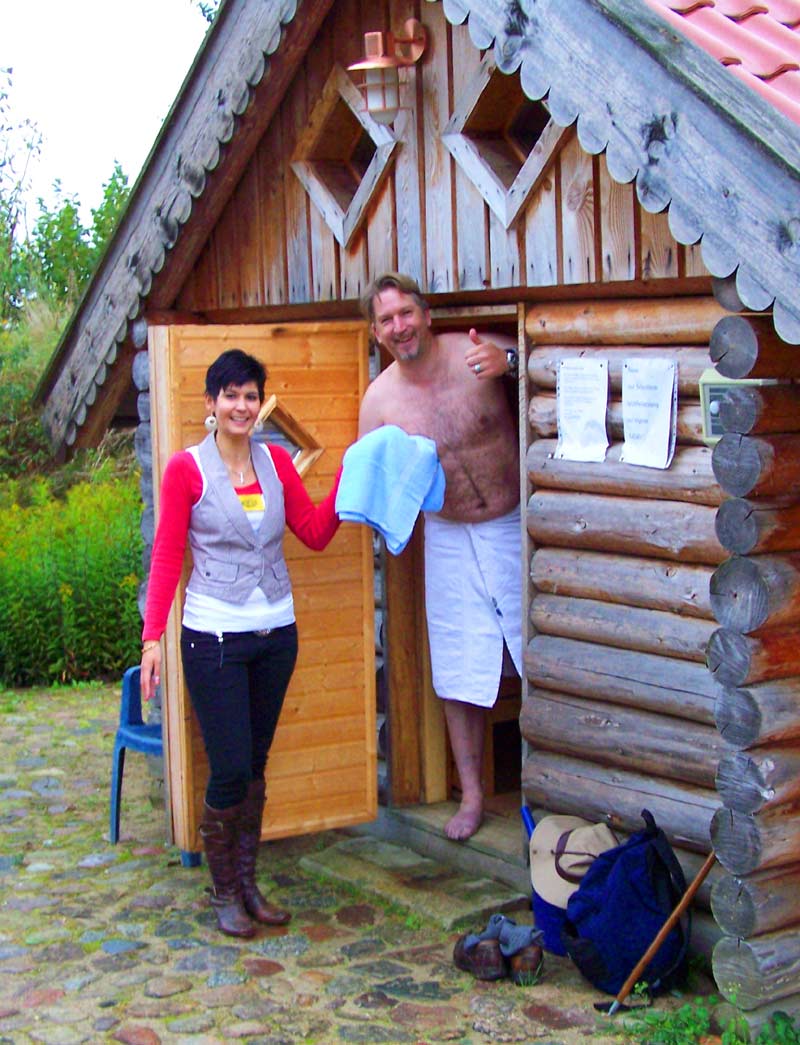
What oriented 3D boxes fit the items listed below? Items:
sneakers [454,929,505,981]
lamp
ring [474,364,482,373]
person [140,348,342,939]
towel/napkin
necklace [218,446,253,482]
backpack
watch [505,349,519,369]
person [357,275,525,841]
[{"bbox_3d":[0.275,1.480,3.320,0.161,0.124,0.071,-7,8,40],"label":"sneakers"},{"bbox_3d":[-0.039,-1.850,3.959,0.305,0.417,0.466,-2,0,2],"label":"lamp"},{"bbox_3d":[0.298,-0.601,3.813,0.032,0.027,0.049,-2,-13,1],"label":"ring"},{"bbox_3d":[-0.617,0.469,3.720,0.756,2.233,0.349,-3,0,-39],"label":"person"},{"bbox_3d":[-0.049,-0.130,3.817,0.426,0.500,0.091,-3,0,-19],"label":"towel/napkin"},{"bbox_3d":[-0.621,-0.217,3.682,0.117,0.115,0.040,-14,-2,-36],"label":"necklace"},{"bbox_3d":[0.698,1.224,3.068,0.383,0.554,0.230,-2,0,19],"label":"backpack"},{"bbox_3d":[0.453,-0.670,3.965,0.066,0.076,0.086,-3,7,-5],"label":"watch"},{"bbox_3d":[0.197,0.209,4.193,0.665,2.392,0.830,-2,0,5],"label":"person"}]
